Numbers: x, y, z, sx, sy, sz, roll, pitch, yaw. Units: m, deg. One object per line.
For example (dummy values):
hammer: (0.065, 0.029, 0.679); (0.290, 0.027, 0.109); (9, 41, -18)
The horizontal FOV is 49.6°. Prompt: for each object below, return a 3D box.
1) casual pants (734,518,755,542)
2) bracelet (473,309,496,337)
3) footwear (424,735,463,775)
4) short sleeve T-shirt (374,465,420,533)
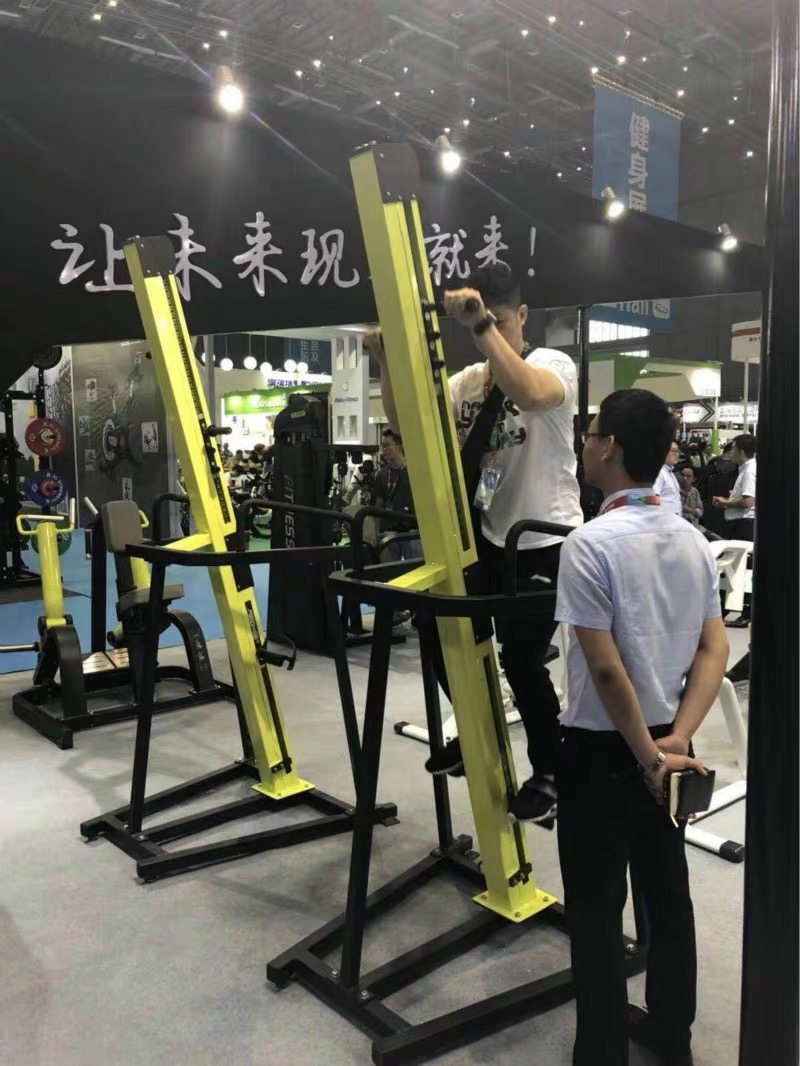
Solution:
casual pants: (2.513, -0.031, 6.334); (0.102, 0.130, 0.179); (-3, 2, -2)
bracelet: (0.166, -0.415, 1.724); (0.020, 0.050, 0.037); (33, 32, 1)
footwear: (0.124, 0.575, 2.202); (0.056, 0.064, 0.156); (-7, -16, 29)
short sleeve T-shirt: (0.000, -0.226, 5.848); (0.343, 0.484, 0.181); (-2, 10, 18)
